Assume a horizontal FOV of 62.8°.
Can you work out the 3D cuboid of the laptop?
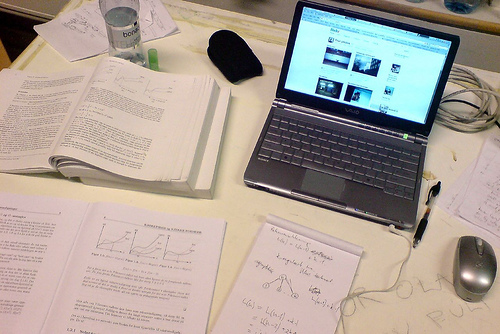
[{"bbox_3d":[0.270,-0.113,1.269,0.600,0.584,0.369,18,-19,2],"label":"laptop"}]

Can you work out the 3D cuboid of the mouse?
[{"bbox_3d":[0.511,0.226,0.928,0.079,0.153,0.050,18,-28,1],"label":"mouse"}]
